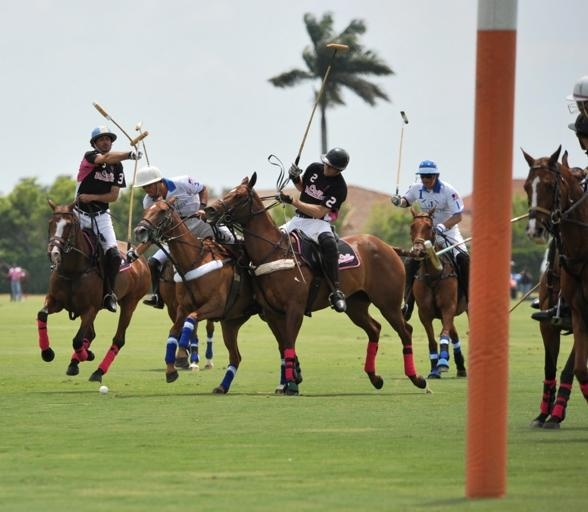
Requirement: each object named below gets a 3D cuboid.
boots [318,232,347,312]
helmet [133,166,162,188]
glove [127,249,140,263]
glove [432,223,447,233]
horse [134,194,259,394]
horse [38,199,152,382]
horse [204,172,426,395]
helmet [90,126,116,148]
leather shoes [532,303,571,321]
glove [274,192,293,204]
[{"bbox_3d":[0.453,0.170,13.699,0.252,0.916,0.290,-7,1,28],"label":"boots"},{"bbox_3d":[-1.818,-0.988,15.127,0.344,0.291,0.413,0,-3,-6],"label":"helmet"},{"bbox_3d":[-1.891,0.009,14.094,0.127,0.146,0.064,-3,12,-32],"label":"glove"},{"bbox_3d":[1.975,-0.359,16.332,0.130,0.142,0.069,-3,-6,-11],"label":"glove"},{"bbox_3d":[-1.043,0.453,13.530,0.956,2.127,1.175,-1,-3,29],"label":"horse"},{"bbox_3d":[-2.623,0.552,15.243,0.921,2.266,3.192,6,-6,11],"label":"horse"},{"bbox_3d":[0.223,0.415,14.009,3.268,2.228,0.815,8,-11,-40],"label":"horse"},{"bbox_3d":[-2.370,-1.486,15.037,0.291,0.221,0.518,0,-2,-8],"label":"helmet"},{"bbox_3d":[2.417,0.537,11.681,0.500,0.181,0.138,0,-3,-1],"label":"leather shoes"},{"bbox_3d":[-0.113,-0.620,13.222,0.174,0.108,0.061,19,42,9],"label":"glove"}]
